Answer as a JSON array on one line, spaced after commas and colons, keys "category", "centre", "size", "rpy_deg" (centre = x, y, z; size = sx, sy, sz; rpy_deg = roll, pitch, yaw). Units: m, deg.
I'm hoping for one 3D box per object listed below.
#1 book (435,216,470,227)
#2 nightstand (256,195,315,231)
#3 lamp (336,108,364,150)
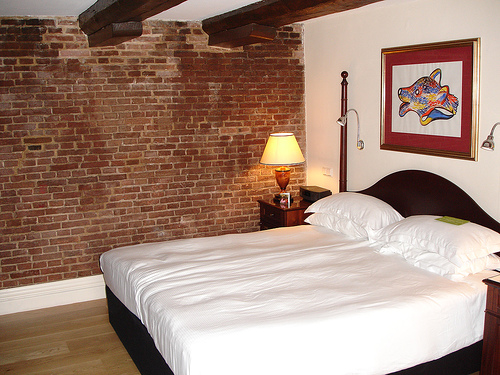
[{"category": "book", "centre": [1.733, 0.281, 3.456], "size": [0.245, 0.021, 0.329], "rpy_deg": [-2, 9, -14]}, {"category": "nightstand", "centre": [0.488, 0.439, 5.113], "size": [0.533, 0.415, 0.555], "rpy_deg": [-5, 10, -22]}, {"category": "lamp", "centre": [1.174, -0.654, 4.557], "size": [0.307, 0.477, 0.609], "rpy_deg": [3, 11, 13]}]
